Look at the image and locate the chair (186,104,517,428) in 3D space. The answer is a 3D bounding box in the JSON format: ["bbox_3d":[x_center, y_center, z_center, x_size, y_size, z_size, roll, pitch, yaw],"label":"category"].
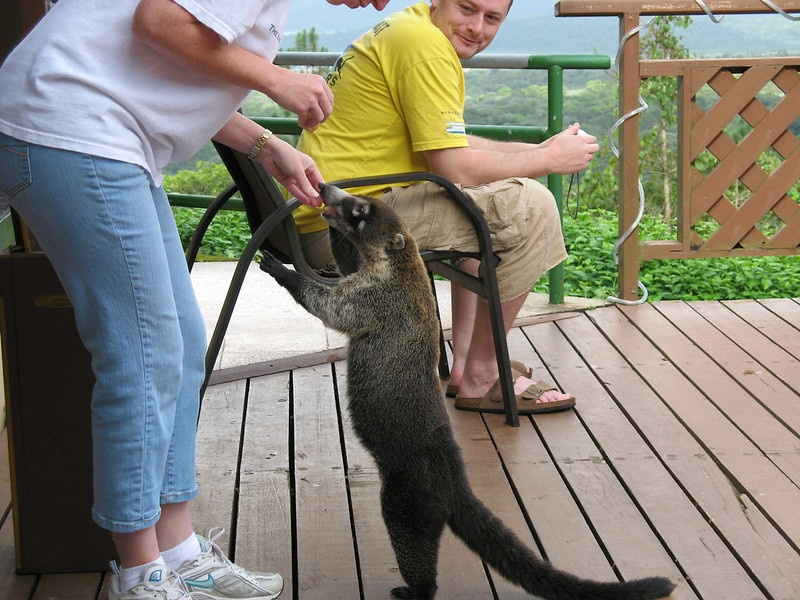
[{"bbox_3d":[-0.307,-0.277,2.908,1.368,1.484,1.149,-7,17,-29],"label":"chair"}]

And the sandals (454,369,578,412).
[{"bbox_3d":[0.508,0.381,2.988,0.380,0.123,0.200,-1,1,3],"label":"sandals"}]

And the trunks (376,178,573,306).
[{"bbox_3d":[0.337,-0.323,2.787,0.586,0.322,0.577,-14,23,-43],"label":"trunks"}]

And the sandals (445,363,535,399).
[{"bbox_3d":[0.441,0.354,3.149,0.451,0.130,0.161,-17,5,13],"label":"sandals"}]

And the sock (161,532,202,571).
[{"bbox_3d":[-0.543,0.634,1.711,0.119,0.049,0.041,-33,30,-32],"label":"sock"}]

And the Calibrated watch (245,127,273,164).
[{"bbox_3d":[-0.391,-0.435,1.921,0.079,0.081,0.083,30,11,-6],"label":"Calibrated watch"}]
